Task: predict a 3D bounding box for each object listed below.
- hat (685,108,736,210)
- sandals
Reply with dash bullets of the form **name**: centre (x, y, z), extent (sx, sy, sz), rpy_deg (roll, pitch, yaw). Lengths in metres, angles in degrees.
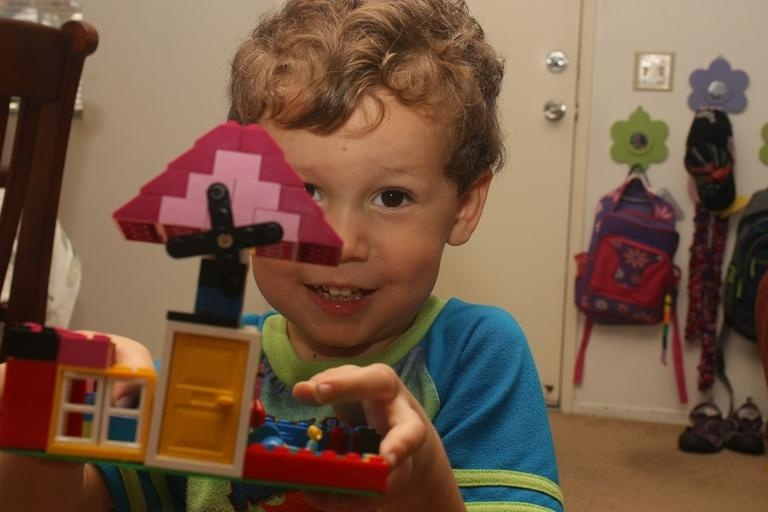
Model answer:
- **hat**: centre (1.142, -0.333, 2.670), extent (0.166, 0.360, 0.082), rpy_deg (5, 4, 23)
- **sandals**: centre (1.157, 0.560, 2.616), extent (0.170, 0.104, 0.248), rpy_deg (-3, -5, 17)
